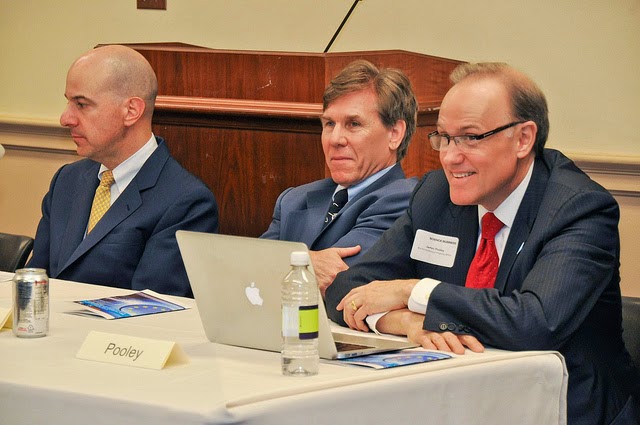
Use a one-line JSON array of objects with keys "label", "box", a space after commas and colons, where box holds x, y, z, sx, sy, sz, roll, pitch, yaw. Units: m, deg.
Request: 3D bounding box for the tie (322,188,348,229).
[{"label": "tie", "box": [0.093, -0.047, 2.658, 0.065, 0.086, 0.290, 26, 47, 9]}]

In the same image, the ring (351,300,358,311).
[{"label": "ring", "box": [0.115, 0.321, 1.781, 0.013, 0.029, 0.022, -12, 3, -44]}]

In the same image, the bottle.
[{"label": "bottle", "box": [-0.048, 0.236, 1.250, 0.096, 0.288, 0.116, 0, 5, -3]}]

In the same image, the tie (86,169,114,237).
[{"label": "tie", "box": [-1.178, -0.061, 2.816, 0.098, 0.414, 0.057, 12, -22, 3]}]
